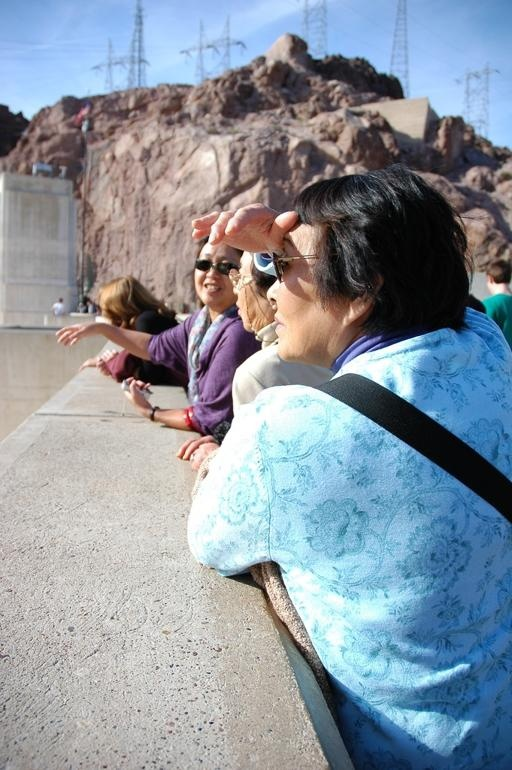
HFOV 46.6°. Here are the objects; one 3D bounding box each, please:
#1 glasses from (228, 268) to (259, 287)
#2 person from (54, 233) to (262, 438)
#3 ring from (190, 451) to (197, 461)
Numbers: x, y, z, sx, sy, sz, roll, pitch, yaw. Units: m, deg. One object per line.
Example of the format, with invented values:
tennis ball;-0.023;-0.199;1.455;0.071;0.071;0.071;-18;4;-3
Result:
glasses;-0.049;-0.352;1.969;0.109;0.037;0.085;9;4;-18
person;-0.603;-0.132;2.665;1.323;0.717;0.667;2;-10;-19
ring;-0.201;0.230;1.905;0.011;0.030;0.023;33;-18;-2
